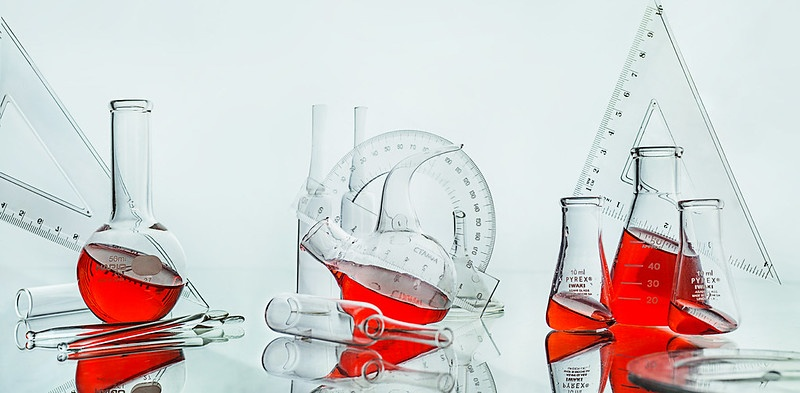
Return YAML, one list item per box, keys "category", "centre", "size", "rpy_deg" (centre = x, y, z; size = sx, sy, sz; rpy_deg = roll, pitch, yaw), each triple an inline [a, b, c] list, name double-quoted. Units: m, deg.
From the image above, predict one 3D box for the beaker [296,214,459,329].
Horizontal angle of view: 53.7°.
- category: "beaker"
  centre: [-0.106, 0.400, 4.424]
  size: [0.811, 0.400, 0.430]
  rpy_deg: [22, -14, 9]
